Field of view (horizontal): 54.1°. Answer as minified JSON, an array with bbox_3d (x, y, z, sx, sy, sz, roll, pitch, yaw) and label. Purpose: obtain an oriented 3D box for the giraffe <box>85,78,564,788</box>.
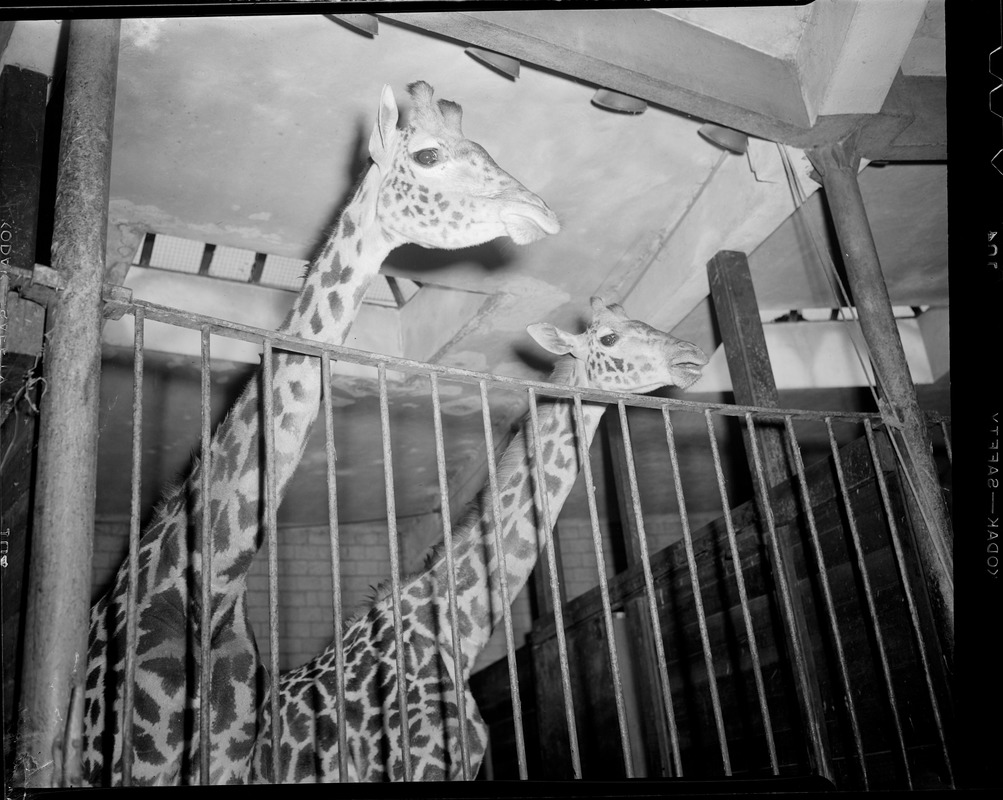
[{"bbox_3d":[-0.728,0.037,3.605,1.325,2.587,0.652,6,-15,-15],"label":"giraffe"}]
